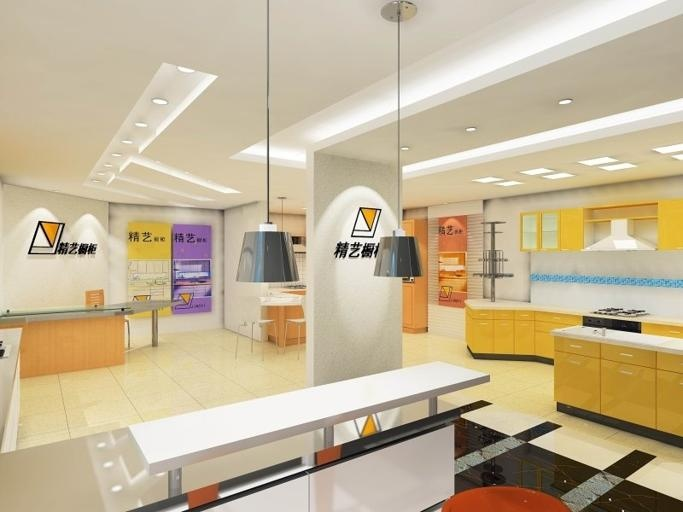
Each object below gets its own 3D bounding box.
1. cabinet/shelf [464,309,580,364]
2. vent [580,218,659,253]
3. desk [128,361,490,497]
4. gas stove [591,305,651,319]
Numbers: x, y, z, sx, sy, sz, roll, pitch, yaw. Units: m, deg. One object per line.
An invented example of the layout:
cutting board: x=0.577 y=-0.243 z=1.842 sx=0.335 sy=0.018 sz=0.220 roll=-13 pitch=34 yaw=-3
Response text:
cabinet/shelf: x=2.958 y=1.326 z=7.261 sx=1.535 sy=0.916 sz=0.377 roll=-1 pitch=2 yaw=26
vent: x=4.025 y=-0.313 z=6.275 sx=0.786 sy=0.445 sz=0.392 roll=-1 pitch=2 yaw=31
desk: x=-0.372 y=1.006 z=2.779 sx=1.545 sy=0.349 sz=0.409 roll=-3 pitch=8 yaw=-33
gas stove: x=4.117 y=0.828 z=6.438 sx=0.661 sy=0.057 sz=0.640 roll=-4 pitch=3 yaw=-42
